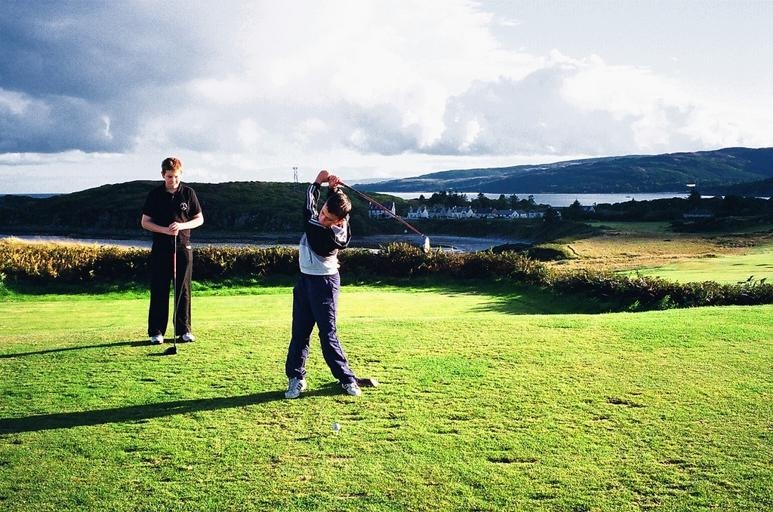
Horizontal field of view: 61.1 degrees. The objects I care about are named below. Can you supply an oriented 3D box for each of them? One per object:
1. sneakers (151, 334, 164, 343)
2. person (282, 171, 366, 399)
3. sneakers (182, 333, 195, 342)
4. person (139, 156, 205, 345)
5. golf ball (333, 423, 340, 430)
[{"bbox_3d":[-4.285,1.559,12.263,0.258,0.149,0.225,-3,4,-38],"label":"sneakers"},{"bbox_3d":[-1.015,0.434,10.047,1.129,3.414,1.013,-1,3,-7],"label":"person"},{"bbox_3d":[-3.786,1.548,12.447,0.171,0.086,0.251,0,3,-12],"label":"sneakers"},{"bbox_3d":[-4.045,-0.077,12.324,1.009,3.426,0.649,-2,3,-19],"label":"person"},{"bbox_3d":[-0.686,2.367,9.064,0.100,0.067,0.103,-1,3,0],"label":"golf ball"}]
